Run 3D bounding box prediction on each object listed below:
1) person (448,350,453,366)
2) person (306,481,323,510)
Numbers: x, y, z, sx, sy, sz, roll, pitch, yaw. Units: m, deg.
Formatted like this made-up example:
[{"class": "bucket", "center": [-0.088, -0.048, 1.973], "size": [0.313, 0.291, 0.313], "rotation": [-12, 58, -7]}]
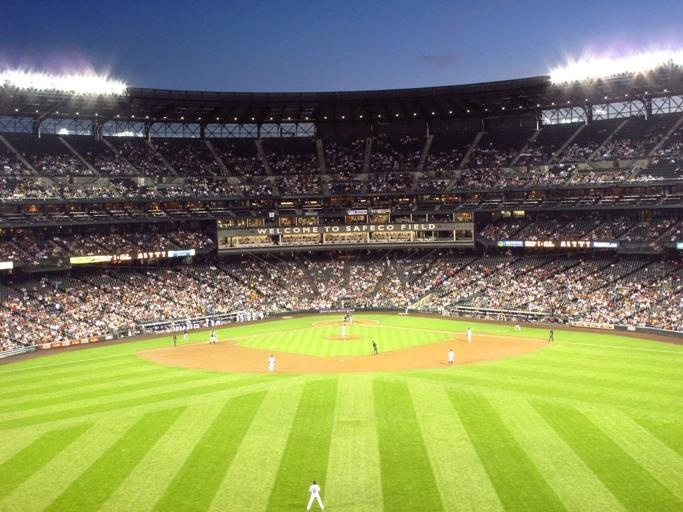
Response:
[{"class": "person", "center": [8.478, 7.806, 40.966], "size": [0.386, 1.288, 1.092], "rotation": [-2, 11, 8]}, {"class": "person", "center": [-1.266, 10.940, 24.626], "size": [0.809, 1.051, 1.367], "rotation": [-4, 10, -4]}]
